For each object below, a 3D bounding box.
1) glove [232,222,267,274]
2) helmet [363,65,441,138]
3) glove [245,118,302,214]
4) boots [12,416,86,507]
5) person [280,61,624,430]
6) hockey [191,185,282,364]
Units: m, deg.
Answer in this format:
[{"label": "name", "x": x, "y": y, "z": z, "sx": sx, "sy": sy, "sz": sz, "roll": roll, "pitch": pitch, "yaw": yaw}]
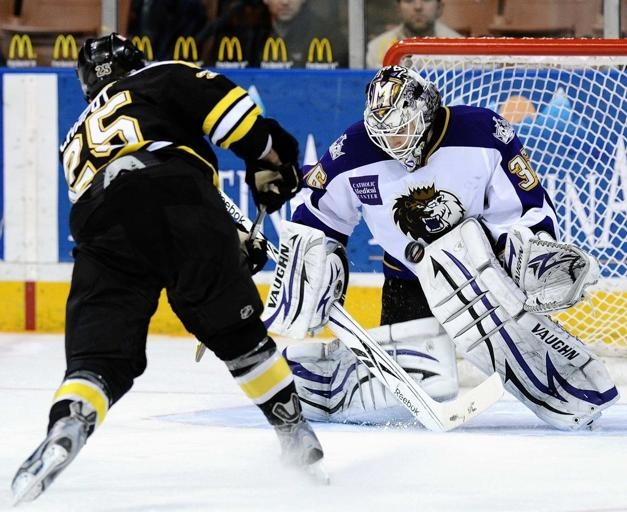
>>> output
[{"label": "glove", "x": -0.186, "y": -0.025, "z": 2.883, "sx": 0.053, "sy": 0.151, "sz": 0.111, "roll": -38, "pitch": -23, "yaw": 34}, {"label": "helmet", "x": 0.301, "y": -0.513, "z": 3.185, "sx": 0.196, "sy": 0.227, "sz": 0.261, "roll": -3, "pitch": 39, "yaw": 41}, {"label": "glove", "x": -0.136, "y": -0.261, "z": 2.755, "sx": 0.090, "sy": 0.258, "sz": 0.185, "roll": -11, "pitch": -13, "yaw": 39}, {"label": "boots", "x": -0.674, "y": 0.514, "z": 2.372, "sx": 0.292, "sy": 0.100, "sz": 0.115, "roll": -45, "pitch": 9, "yaw": -26}, {"label": "person", "x": 0.598, "y": -0.042, "z": 3.499, "sx": 1.283, "sy": 1.341, "sz": 0.809, "roll": -3, "pitch": 16, "yaw": 22}, {"label": "hockey", "x": -0.221, "y": -0.015, "z": 3.240, "sx": 0.057, "sy": 0.563, "sz": 0.552, "roll": -13, "pitch": 46, "yaw": -40}]
